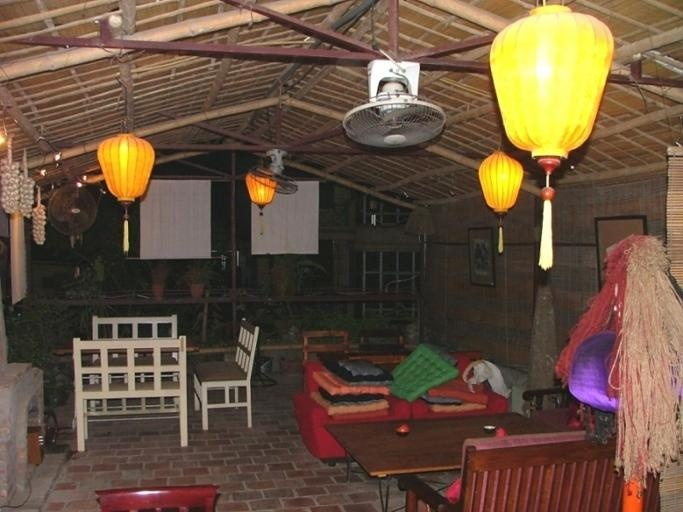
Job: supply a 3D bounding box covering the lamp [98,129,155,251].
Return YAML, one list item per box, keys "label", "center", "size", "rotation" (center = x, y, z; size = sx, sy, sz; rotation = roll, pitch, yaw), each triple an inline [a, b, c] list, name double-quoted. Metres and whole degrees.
- label: "lamp"
  center: [-1.778, -0.734, 5.249]
  size: [0.428, 0.600, 0.245]
  rotation: [1, 4, -18]

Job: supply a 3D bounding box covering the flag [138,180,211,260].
- label: "flag"
  center: [-2.810, -0.640, 11.325]
  size: [0.056, 1.530, 1.473]
  rotation: [29, 21, 34]

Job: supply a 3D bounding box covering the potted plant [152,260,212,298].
- label: "potted plant"
  center: [-2.823, 0.338, 11.176]
  size: [0.884, 0.544, 0.853]
  rotation: [-1, -2, -7]

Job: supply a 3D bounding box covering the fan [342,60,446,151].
- label: "fan"
  center: [0.361, -1.109, 4.629]
  size: [0.750, 0.487, 0.719]
  rotation: [-4, -14, 1]

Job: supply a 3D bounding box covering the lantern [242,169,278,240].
- label: "lantern"
  center: [-1.113, -0.718, 8.380]
  size: [0.434, 0.773, 0.517]
  rotation: [-15, -8, 40]

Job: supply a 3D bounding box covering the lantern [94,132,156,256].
- label: "lantern"
  center: [-1.795, -0.546, 5.346]
  size: [0.506, 0.889, 0.472]
  rotation: [2, -3, -29]

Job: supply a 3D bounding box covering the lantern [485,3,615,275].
- label: "lantern"
  center: [0.972, -0.795, 2.999]
  size: [0.539, 0.766, 0.225]
  rotation: [3, 4, 18]

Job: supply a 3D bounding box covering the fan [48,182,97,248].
- label: "fan"
  center: [-3.660, -0.559, 8.752]
  size: [0.864, 0.798, 0.311]
  rotation: [4, -2, -14]

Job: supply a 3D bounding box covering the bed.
- label: "bed"
  center: [-2.522, 1.423, 7.709]
  size: [1.329, 1.119, 1.848]
  rotation: [0, 4, -18]

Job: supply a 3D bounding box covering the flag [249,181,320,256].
- label: "flag"
  center: [-1.099, -0.714, 11.761]
  size: [1.481, 1.392, 0.031]
  rotation: [-1, 19, -39]

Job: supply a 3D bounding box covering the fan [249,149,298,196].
- label: "fan"
  center: [-0.859, -1.158, 8.242]
  size: [0.604, 0.500, 0.559]
  rotation: [2, 10, -14]

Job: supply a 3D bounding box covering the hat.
- label: "hat"
  center: [1.596, 0.636, 3.677]
  size: [0.458, 0.308, 0.556]
  rotation: [1, 3, 40]

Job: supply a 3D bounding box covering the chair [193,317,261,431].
- label: "chair"
  center: [-1.493, 1.457, 8.086]
  size: [0.759, 0.981, 1.238]
  rotation: [-5, 2, -18]

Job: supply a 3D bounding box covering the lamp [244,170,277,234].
- label: "lamp"
  center: [-1.108, -0.724, 8.373]
  size: [0.506, 0.783, 0.475]
  rotation: [0, -13, -37]

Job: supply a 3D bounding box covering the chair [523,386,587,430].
- label: "chair"
  center: [2.153, 1.614, 6.668]
  size: [0.520, 0.557, 0.528]
  rotation: [-9, 6, 39]
